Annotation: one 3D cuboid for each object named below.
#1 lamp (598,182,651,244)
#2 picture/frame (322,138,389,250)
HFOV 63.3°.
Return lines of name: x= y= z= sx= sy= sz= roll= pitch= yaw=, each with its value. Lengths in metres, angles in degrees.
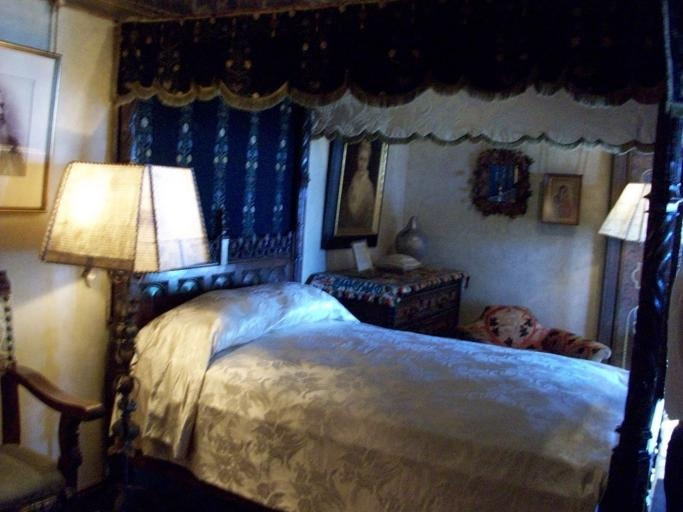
lamp: x=2.297 y=-0.366 z=4.466 sx=0.183 sy=0.473 sz=0.380 roll=-7 pitch=16 yaw=-32
picture/frame: x=0.100 y=-0.602 z=5.130 sx=0.127 sy=1.262 sz=0.908 roll=13 pitch=13 yaw=30
